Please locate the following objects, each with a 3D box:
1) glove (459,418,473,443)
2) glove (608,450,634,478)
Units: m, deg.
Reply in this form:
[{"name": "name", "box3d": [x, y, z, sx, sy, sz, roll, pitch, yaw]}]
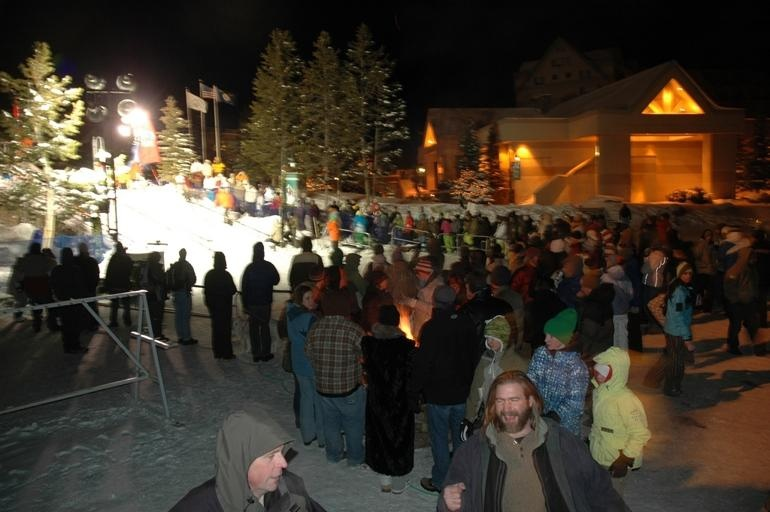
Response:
[{"name": "glove", "box3d": [1.124, 2.401, 7.747, 0.181, 0.320, 0.386, -1, 2, 5]}, {"name": "glove", "box3d": [3.110, 2.701, 7.341, 0.320, 0.347, 0.174, -1, 2, -7]}]
